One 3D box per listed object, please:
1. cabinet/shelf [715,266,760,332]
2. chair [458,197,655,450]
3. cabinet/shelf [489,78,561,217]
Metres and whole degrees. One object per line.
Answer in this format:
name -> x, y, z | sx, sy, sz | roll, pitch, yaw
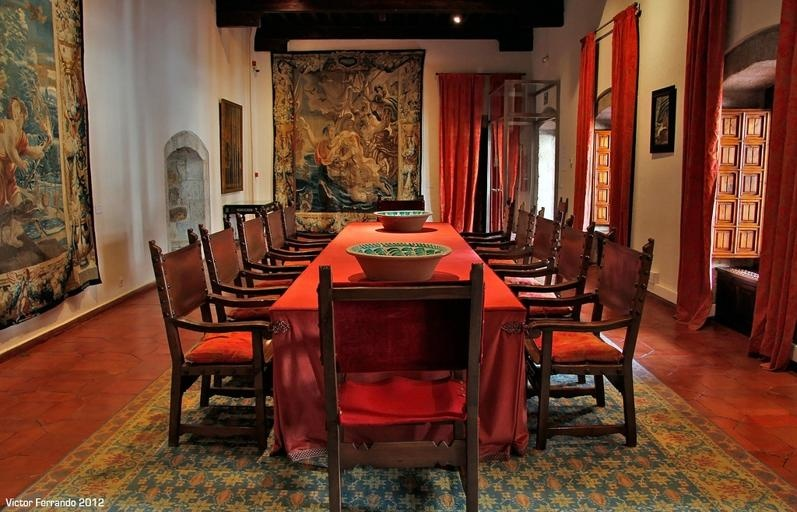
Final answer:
cabinet/shelf -> 3.932, 0.441, 5.653 | 0.438, 0.599, 0.636 | -8, 11, -8
chair -> 1.316, 0.561, 4.095 | 0.768, 1.184, 2.318 | 0, 3, 8
cabinet/shelf -> 2.651, -1.955, 10.931 | 1.117, 3.371, 1.692 | -3, 14, -1
